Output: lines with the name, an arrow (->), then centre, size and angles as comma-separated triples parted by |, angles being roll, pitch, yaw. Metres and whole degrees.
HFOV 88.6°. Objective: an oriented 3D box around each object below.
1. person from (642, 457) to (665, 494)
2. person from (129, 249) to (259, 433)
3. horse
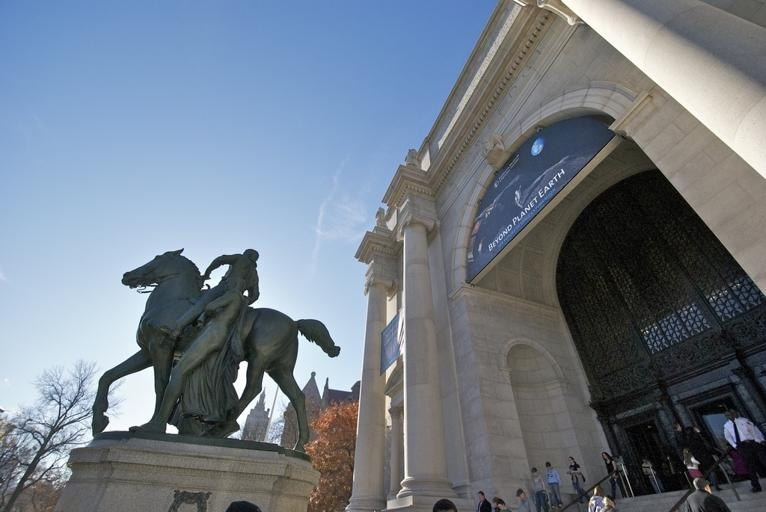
person -> 8.766, 7.086, 12.842 | 0.444, 1.058, 1.155 | -17, -38, 25
person -> -3.378, 1.401, 7.637 | 1.298, 3.671, 0.739 | -5, -34, 8
horse -> -3.110, 1.704, 7.895 | 4.554, 3.746, 1.198 | 4, -15, -12
